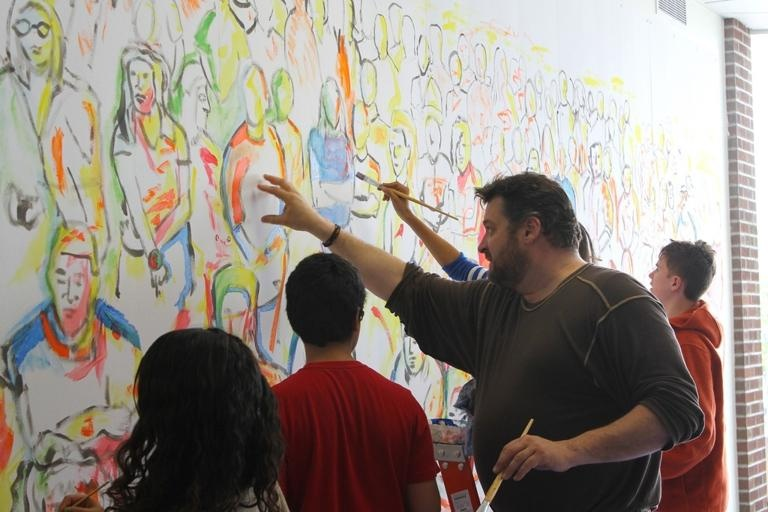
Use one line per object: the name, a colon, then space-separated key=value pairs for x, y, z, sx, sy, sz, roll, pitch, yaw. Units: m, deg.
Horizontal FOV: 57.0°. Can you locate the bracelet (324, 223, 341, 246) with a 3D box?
bracelet: x=-0.182 y=-0.074 z=2.589 sx=0.024 sy=0.064 sz=0.071 roll=27 pitch=-45 yaw=8
